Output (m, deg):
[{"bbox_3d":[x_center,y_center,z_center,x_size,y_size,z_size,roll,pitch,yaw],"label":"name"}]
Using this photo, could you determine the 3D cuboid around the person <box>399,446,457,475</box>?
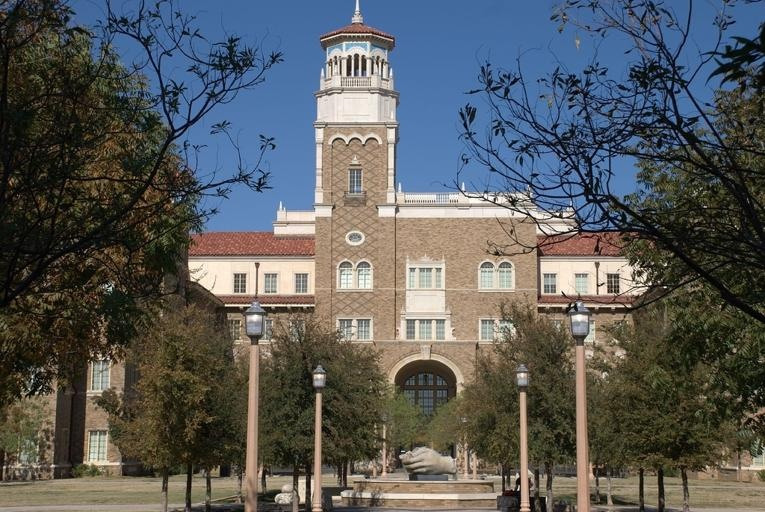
[{"bbox_3d":[2.059,9.397,59.352,1.801,1.131,1.353,3,-3,0],"label":"person"}]
